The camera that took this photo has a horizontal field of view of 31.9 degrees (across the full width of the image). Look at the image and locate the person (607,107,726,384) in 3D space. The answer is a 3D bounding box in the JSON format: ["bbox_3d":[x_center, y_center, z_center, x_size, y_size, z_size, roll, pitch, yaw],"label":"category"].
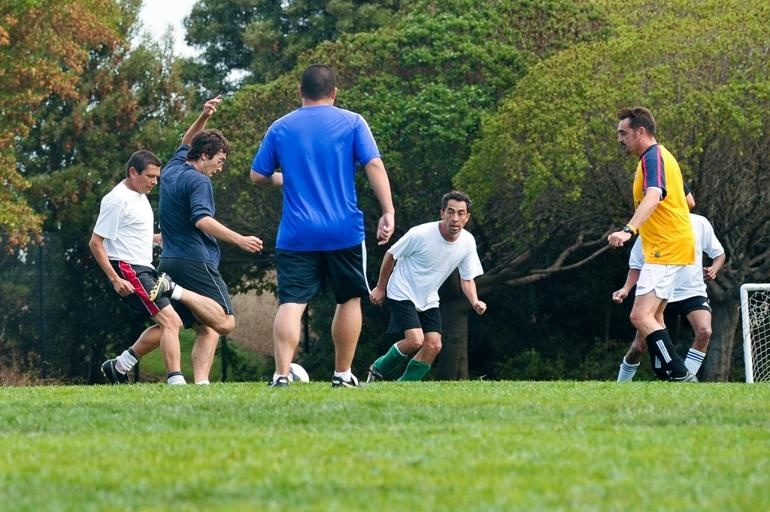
[{"bbox_3d":[4.262,-0.195,20.995,1.088,4.315,1.584,-2,-7,13],"label":"person"}]

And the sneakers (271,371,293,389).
[{"bbox_3d":[-1.523,1.862,19.904,0.245,0.264,0.574,2,4,-7],"label":"sneakers"}]

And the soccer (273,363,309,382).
[{"bbox_3d":[-1.402,1.927,21.373,0.294,0.238,0.525,23,-9,12],"label":"soccer"}]
